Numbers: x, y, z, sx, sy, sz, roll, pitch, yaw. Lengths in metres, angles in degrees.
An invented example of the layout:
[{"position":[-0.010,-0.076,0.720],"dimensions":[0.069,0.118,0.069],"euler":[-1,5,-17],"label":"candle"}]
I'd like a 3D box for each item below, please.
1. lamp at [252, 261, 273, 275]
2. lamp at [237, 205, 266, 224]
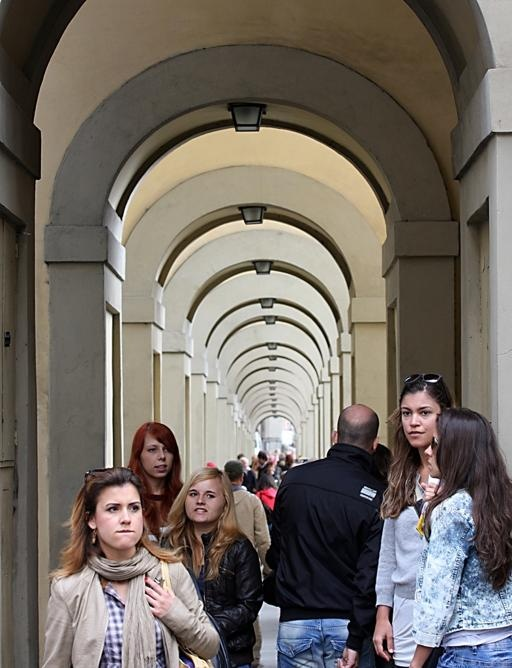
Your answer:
[{"position":[0.111,-1.125,15.477],"dimensions":[0.206,0.216,0.200],"euler":[2,4,5],"label":"lamp"},{"position":[-0.036,-1.468,11.516],"dimensions":[0.235,0.255,0.249],"euler":[0,-11,3],"label":"lamp"}]
